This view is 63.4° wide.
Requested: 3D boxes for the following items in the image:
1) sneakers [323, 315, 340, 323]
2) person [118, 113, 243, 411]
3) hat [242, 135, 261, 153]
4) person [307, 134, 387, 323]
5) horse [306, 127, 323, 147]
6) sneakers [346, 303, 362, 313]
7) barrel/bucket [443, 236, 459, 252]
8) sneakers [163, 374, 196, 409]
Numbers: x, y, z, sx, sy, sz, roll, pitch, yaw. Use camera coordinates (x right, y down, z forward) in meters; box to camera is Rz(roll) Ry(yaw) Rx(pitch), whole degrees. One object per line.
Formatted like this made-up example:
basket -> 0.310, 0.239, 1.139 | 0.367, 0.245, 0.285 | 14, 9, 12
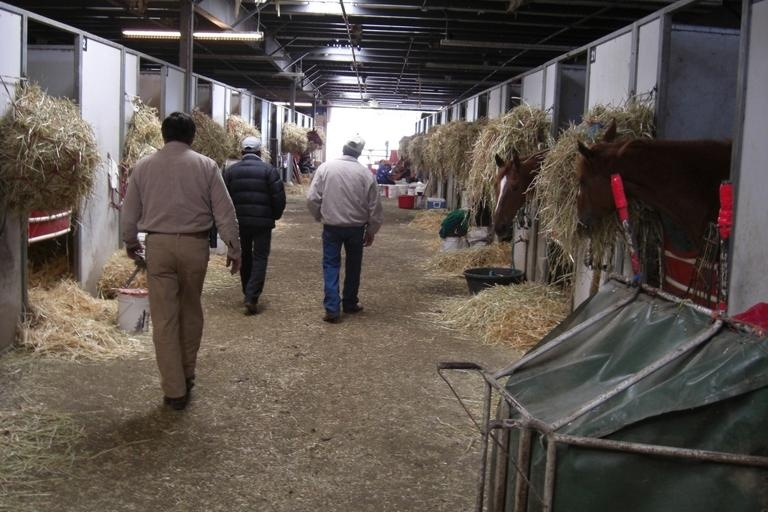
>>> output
sneakers -> -0.516, 0.608, 6.139 | 0.169, 0.076, 0.117 | 2, 10, 0
person -> -1.412, -0.003, 4.442 | 0.813, 2.018, 0.666 | -2, 10, -23
hat -> -1.359, -1.171, 6.464 | 0.157, 0.117, 0.228 | 2, 39, -2
person -> -0.397, -0.278, 6.228 | 0.726, 1.830, 0.504 | -1, 10, -16
horse -> -2.602, -4.501, 23.475 | 0.544, 0.753, 0.724 | 0, 18, -8
sneakers -> -0.308, 0.534, 6.517 | 0.071, 0.078, 0.173 | 9, 14, 32
barrel/bucket -> 1.030, -0.193, 9.527 | 0.261, 0.199, 0.243 | 2, 10, 0
sneakers -> -1.444, 0.965, 4.408 | 0.098, 0.191, 0.272 | 15, 12, -19
